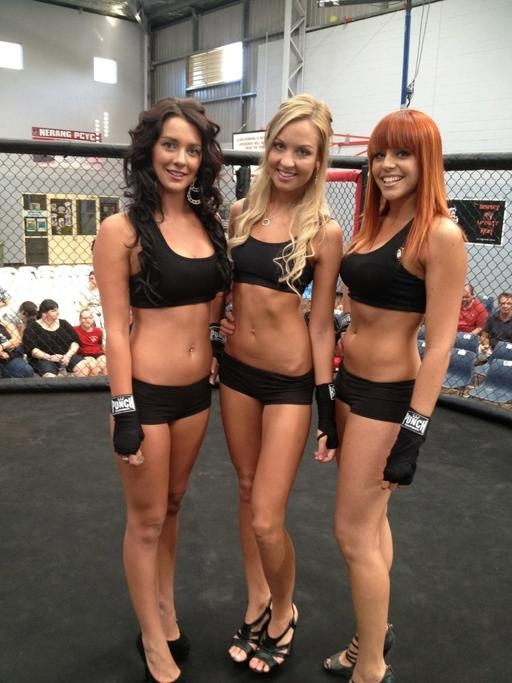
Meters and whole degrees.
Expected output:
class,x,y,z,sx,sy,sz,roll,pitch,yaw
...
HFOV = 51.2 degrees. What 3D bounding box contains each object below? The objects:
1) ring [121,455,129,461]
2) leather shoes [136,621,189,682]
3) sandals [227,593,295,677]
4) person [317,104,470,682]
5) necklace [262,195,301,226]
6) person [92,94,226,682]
class,x,y,z,sx,sy,sz,roll,pitch,yaw
ring,-0.347,0.313,1.425,0.018,0.006,0.021,2,7,-7
leather shoes,-0.294,0.972,1.700,0.081,0.077,0.213,5,5,-27
sandals,0.043,0.959,1.737,0.120,0.045,0.207,9,23,26
person,0.382,0.172,1.553,0.316,1.598,0.528,3,15,8
necklace,0.080,-0.430,1.782,0.093,0.111,0.045,14,-11,13
person,-0.269,0.155,1.622,0.371,1.703,0.563,1,15,-2
